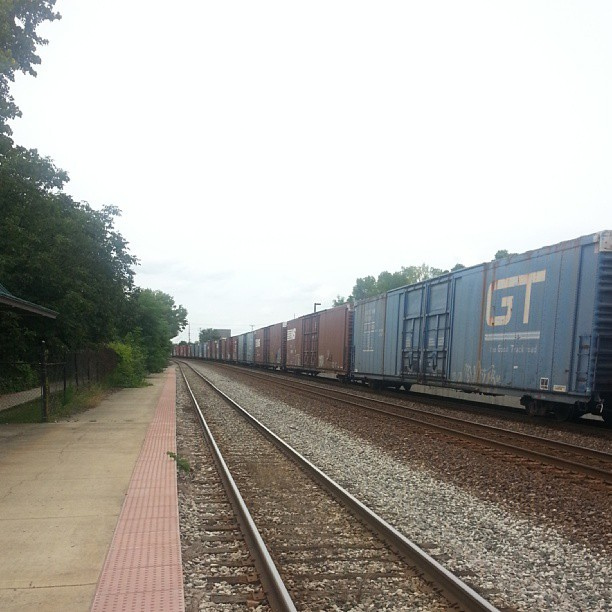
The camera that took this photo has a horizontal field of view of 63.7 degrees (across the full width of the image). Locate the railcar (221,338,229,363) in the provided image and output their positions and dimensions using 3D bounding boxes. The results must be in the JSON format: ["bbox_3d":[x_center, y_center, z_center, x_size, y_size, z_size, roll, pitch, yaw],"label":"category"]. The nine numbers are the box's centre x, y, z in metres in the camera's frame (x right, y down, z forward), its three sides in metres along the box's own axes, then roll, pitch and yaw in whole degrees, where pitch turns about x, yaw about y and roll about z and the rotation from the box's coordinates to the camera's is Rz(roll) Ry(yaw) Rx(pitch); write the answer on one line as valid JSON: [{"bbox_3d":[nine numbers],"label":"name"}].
[{"bbox_3d":[-12.036,6.368,72.743,1.395,3.439,3.733,1,-5,-7],"label":"railcar"}]

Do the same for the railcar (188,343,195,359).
[{"bbox_3d":[-26.491,10.189,112.927,1.128,3.435,13.233,1,-6,-15],"label":"railcar"}]

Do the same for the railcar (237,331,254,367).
[{"bbox_3d":[-7.146,4.884,57.254,1.163,3.357,9.667,1,-6,-11],"label":"railcar"}]

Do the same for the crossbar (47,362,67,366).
[{"bbox_3d":[-6.644,1.512,13.035,0.275,0.094,1.596,2,-7,-20],"label":"crossbar"}]

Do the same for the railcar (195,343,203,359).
[{"bbox_3d":[-22.427,9.256,102.357,1.228,3.047,9.778,1,-6,-14],"label":"railcar"}]

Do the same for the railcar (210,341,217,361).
[{"bbox_3d":[-16.002,7.449,84.464,1.161,3.051,3.418,1,-6,-9],"label":"railcar"}]
